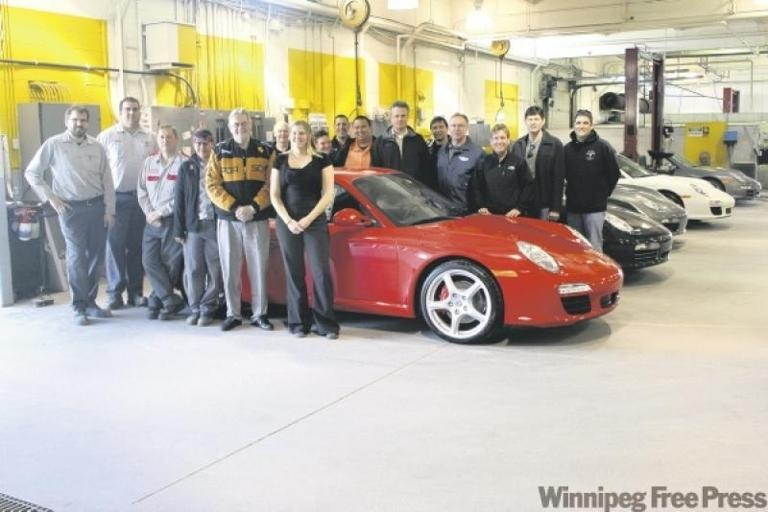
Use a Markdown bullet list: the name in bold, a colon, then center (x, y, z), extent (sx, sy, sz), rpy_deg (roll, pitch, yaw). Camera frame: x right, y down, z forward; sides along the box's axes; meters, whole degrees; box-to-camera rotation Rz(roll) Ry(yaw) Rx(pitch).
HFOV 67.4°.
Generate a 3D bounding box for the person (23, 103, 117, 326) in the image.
- **person**: center (-3.330, -0.466, 6.196), extent (0.779, 2.220, 0.665), rpy_deg (-5, 13, -16)

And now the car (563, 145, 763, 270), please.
- **car**: center (3.444, -0.502, 7.389), extent (2.145, 0.730, 1.130), rpy_deg (1, 10, 21)

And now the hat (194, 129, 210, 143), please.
- **hat**: center (-1.903, -1.236, 6.050), extent (0.148, 0.121, 0.118), rpy_deg (-11, 49, 4)
